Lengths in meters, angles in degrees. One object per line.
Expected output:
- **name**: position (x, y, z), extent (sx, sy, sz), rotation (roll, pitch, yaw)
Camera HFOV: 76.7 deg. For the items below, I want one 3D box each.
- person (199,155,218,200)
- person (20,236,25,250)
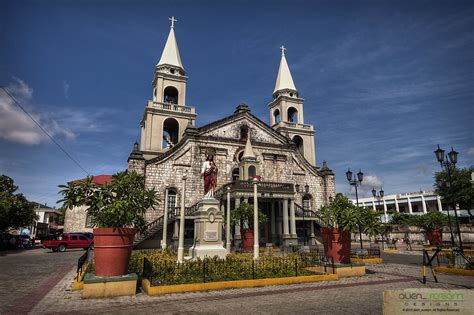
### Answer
- **person**: position (-1.747, 1.183, 18.666), extent (0.881, 2.739, 1.387), rotation (1, -17, -7)
- **person**: position (-24.546, 9.733, 34.054), extent (0.572, 1.243, 1.165), rotation (10, -20, -33)
